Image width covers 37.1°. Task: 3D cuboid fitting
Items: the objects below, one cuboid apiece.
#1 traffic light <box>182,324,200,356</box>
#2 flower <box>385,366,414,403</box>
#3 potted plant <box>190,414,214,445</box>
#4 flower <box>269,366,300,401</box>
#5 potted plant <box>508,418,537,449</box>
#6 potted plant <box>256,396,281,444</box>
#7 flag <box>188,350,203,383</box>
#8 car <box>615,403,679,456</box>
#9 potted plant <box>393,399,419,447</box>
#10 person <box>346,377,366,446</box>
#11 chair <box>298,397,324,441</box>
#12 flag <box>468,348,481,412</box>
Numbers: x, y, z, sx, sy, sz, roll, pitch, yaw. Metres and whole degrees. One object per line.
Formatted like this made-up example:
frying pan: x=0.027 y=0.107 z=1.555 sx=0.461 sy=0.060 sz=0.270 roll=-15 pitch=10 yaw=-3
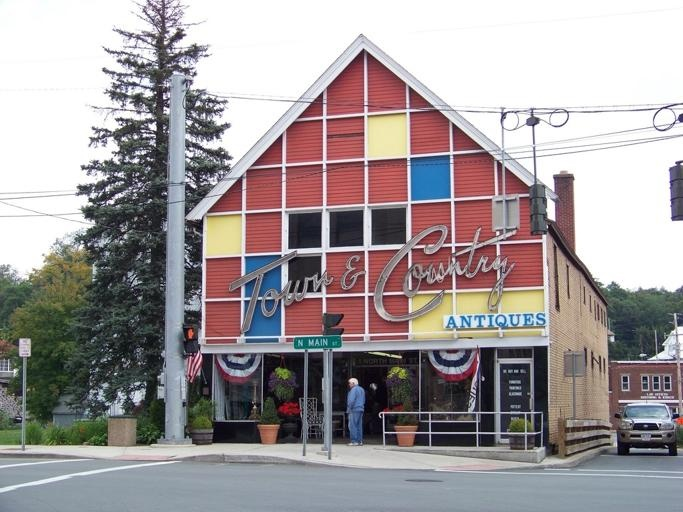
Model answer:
traffic light: x=-5.254 y=2.808 z=35.237 sx=0.521 sy=1.013 sz=0.788 roll=1 pitch=-15 yaw=-9
flower: x=2.009 y=4.611 z=36.867 sx=1.352 sy=1.581 sz=1.152 roll=1 pitch=-5 yaw=-17
potted plant: x=-5.048 y=6.200 z=36.478 sx=0.839 sy=0.923 sz=0.901 roll=1 pitch=-11 yaw=-5
flower: x=-2.292 y=4.571 z=38.151 sx=1.000 sy=0.750 sz=1.001 roll=18 pitch=6 yaw=3
potted plant: x=5.970 y=5.761 z=33.487 sx=0.943 sy=1.053 sz=0.956 roll=1 pitch=-11 yaw=-6
potted plant: x=-2.711 y=5.947 z=37.319 sx=0.808 sy=1.756 sz=0.863 roll=1 pitch=-14 yaw=-6
flag: x=-5.289 y=3.817 z=36.146 sx=0.526 sy=0.975 sz=1.004 roll=2 pitch=-15 yaw=-10
car: x=11.932 y=6.671 z=39.945 sx=2.119 sy=2.262 sz=2.693 roll=-8 pitch=-16 yaw=26
potted plant: x=2.216 y=5.818 z=35.822 sx=0.828 sy=1.665 sz=1.099 roll=-4 pitch=-15 yaw=10
person: x=0.468 y=5.382 z=35.857 sx=0.569 sy=2.446 sz=1.168 roll=-1 pitch=-14 yaw=0
chair: x=-1.043 y=6.080 z=38.680 sx=0.582 sy=1.700 sz=1.315 roll=0 pitch=-14 yaw=-2
flag: x=4.603 y=4.327 z=35.605 sx=0.474 sy=2.211 sz=0.873 roll=-3 pitch=-14 yaw=9
